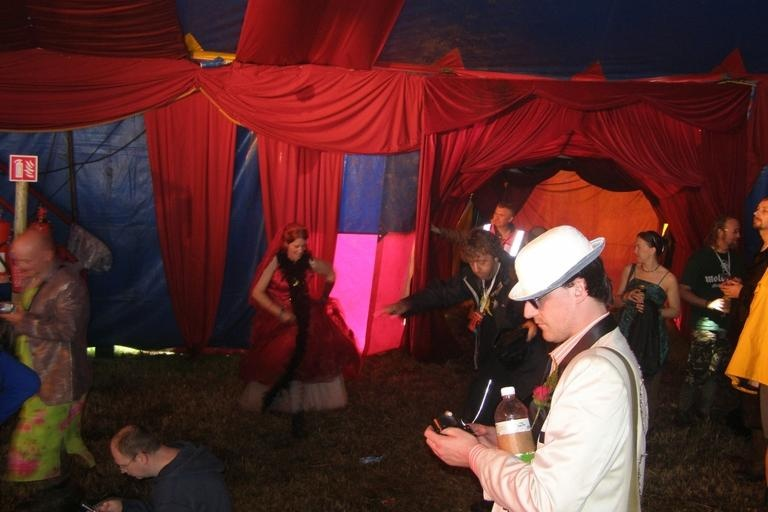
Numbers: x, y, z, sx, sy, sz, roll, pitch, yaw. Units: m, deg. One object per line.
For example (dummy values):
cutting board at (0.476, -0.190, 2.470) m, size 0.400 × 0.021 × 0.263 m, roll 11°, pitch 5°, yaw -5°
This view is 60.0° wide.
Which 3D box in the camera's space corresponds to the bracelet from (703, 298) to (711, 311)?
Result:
bracelet at (4.039, 0.610, 8.309) m, size 0.080 × 0.071 × 0.080 m, roll -4°, pitch 13°, yaw 13°

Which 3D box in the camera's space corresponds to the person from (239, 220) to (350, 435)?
person at (-1.037, 0.895, 8.293) m, size 1.352 × 2.286 × 0.686 m, roll 4°, pitch 10°, yaw -13°

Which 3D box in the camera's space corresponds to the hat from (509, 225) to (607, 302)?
hat at (1.338, 0.017, 5.281) m, size 0.676 × 0.239 × 0.550 m, roll -39°, pitch 8°, yaw 1°

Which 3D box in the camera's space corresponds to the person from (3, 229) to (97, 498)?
person at (-3.419, 1.041, 6.776) m, size 0.799 × 2.565 × 0.519 m, roll 5°, pitch 10°, yaw -6°
